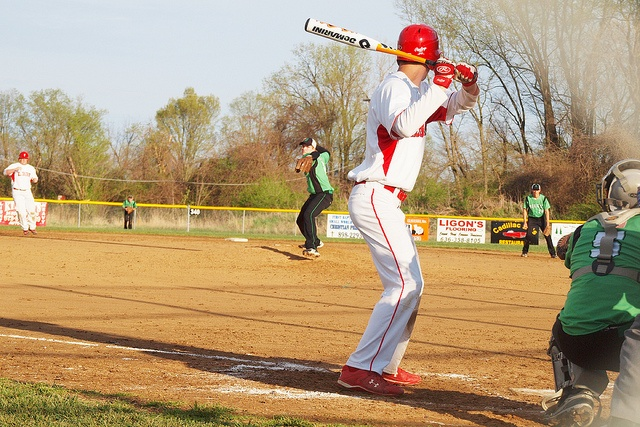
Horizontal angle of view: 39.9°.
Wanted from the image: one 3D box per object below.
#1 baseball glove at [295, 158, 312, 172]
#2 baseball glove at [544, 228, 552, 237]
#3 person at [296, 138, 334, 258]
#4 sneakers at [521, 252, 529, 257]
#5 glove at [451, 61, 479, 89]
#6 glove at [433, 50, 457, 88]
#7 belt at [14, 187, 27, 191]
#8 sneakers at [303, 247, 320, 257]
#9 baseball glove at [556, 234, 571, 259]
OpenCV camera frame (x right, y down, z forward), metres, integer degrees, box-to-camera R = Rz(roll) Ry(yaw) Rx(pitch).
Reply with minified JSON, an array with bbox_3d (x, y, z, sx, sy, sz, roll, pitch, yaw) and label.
[{"bbox_3d":[-0.432,-1.346,24.830,0.431,0.414,0.152,5,-31,15],"label":"baseball glove"},{"bbox_3d":[7.511,0.622,29.191,0.124,0.291,0.363,27,-38,0],"label":"baseball glove"},{"bbox_3d":[-0.193,-0.388,25.255,1.033,3.397,1.588,2,10,-1],"label":"person"},{"bbox_3d":[6.972,1.397,30.090,0.159,0.165,0.429,3,3,17],"label":"sneakers"},{"bbox_3d":[2.978,-2.822,18.001,0.658,0.624,0.259,1,17,-7],"label":"glove"},{"bbox_3d":[2.491,-2.877,17.697,0.520,0.577,0.255,6,-7,3],"label":"glove"},{"bbox_3d":[-9.853,-0.777,29.036,0.411,0.103,0.066,-6,13,-41],"label":"belt"},{"bbox_3d":[-0.242,1.132,25.453,0.468,0.218,0.200,0,5,6],"label":"sneakers"},{"bbox_3d":[4.995,0.687,18.129,0.206,0.457,0.343,7,33,1],"label":"baseball glove"}]
